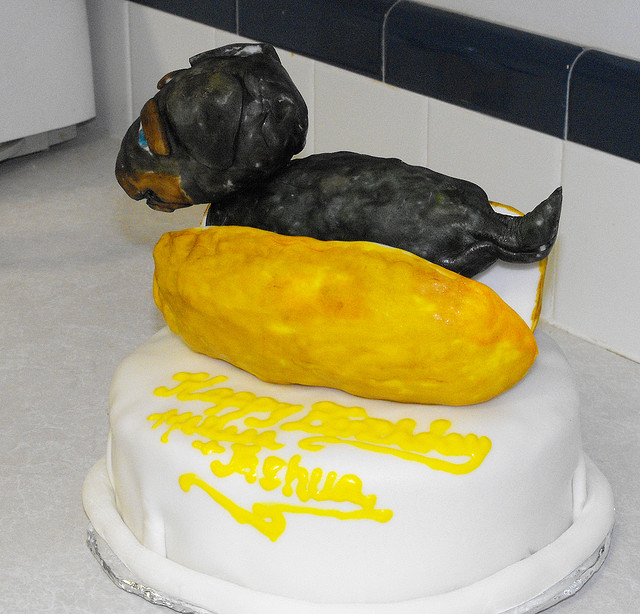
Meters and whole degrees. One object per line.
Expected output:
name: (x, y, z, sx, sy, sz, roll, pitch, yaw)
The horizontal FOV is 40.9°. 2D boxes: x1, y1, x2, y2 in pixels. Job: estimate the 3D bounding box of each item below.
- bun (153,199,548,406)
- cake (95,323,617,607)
bun: (-0.010, 0.003, 0.753, 0.373, 0.147, 0.087, 15, 41, 22)
cake: (0.025, 0.164, 0.805, 0.530, 0.214, 0.274, 4, 36, 6)
